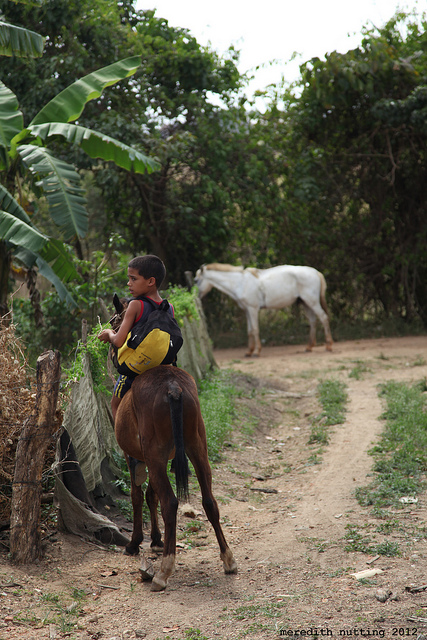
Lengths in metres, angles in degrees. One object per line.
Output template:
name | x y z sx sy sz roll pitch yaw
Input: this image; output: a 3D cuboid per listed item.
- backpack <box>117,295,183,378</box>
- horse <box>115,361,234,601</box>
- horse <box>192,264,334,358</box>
backpack | -0.499 0.067 6.678 0.394 0.636 0.518 6 -2 33
horse | -0.449 1.132 6.932 0.778 1.723 1.733 -10 12 -7
horse | 0.882 -0.212 14.922 2.095 1.613 0.953 -6 12 8
